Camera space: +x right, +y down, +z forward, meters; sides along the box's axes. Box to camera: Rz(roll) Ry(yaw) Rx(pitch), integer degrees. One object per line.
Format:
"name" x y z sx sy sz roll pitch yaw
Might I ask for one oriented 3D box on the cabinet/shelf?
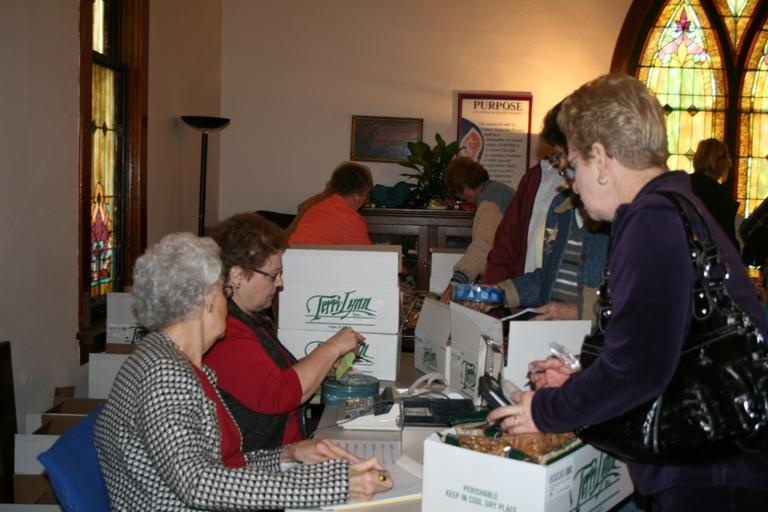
"cabinet/shelf" 0.360 0.048 5.629 1.090 1.122 0.390 -4 21 -8

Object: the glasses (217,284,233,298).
"glasses" -0.557 0.121 2.171 0.036 0.036 0.036 6 -6 -20

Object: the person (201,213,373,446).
"person" -0.465 0.546 2.730 0.710 1.400 0.631 4 17 1

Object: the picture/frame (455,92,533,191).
"picture/frame" 1.082 -1.174 6.169 0.752 1.067 0.035 4 -19 11

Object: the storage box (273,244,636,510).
"storage box" 0.187 0.353 2.540 0.981 0.640 1.001 2 1 10

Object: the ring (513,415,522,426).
"ring" 0.401 0.496 1.857 0.030 0.032 0.012 7 -2 26
